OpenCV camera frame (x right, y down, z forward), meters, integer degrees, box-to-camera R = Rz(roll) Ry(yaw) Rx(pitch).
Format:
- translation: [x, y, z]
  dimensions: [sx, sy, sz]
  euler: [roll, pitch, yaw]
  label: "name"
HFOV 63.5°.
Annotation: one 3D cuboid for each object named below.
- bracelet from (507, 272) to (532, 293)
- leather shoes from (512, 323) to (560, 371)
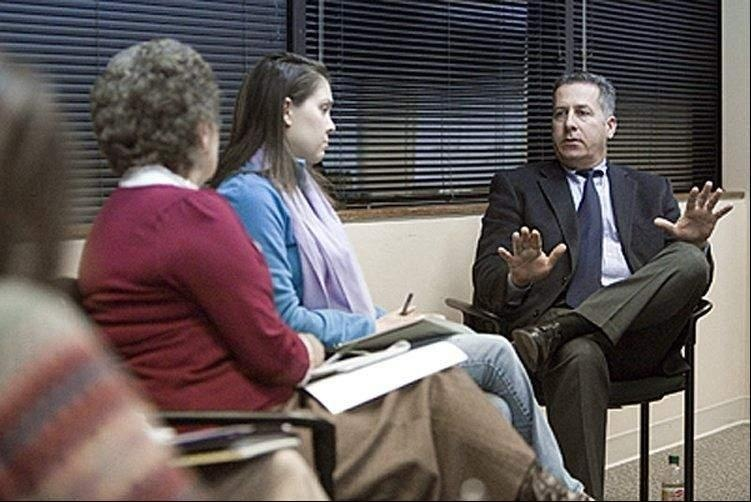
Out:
- translation: [0.562, 0.137, 2.391]
  dimensions: [0.076, 0.082, 0.083]
  euler: [-7, -32, -2]
  label: "bracelet"
- translation: [0.548, 0.342, 2.170]
  dimensions: [0.180, 0.146, 0.068]
  euler: [-26, 0, -40]
  label: "leather shoes"
